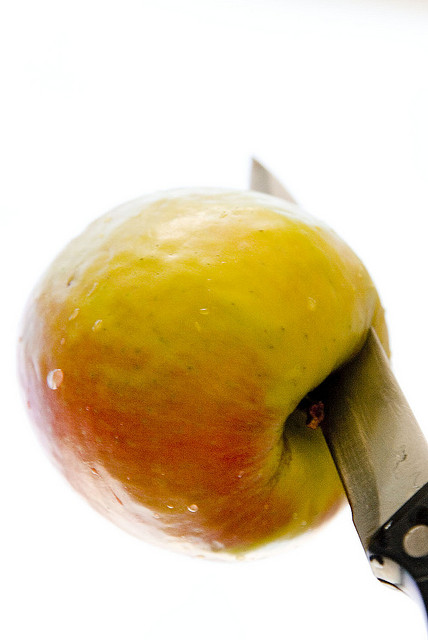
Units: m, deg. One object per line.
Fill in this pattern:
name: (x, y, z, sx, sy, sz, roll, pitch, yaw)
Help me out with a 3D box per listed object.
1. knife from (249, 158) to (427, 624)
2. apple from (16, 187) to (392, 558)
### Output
knife: (0.094, 0.049, 0.607, 0.063, 0.026, 0.437, -39, 37, 15)
apple: (0.035, 0.025, 0.717, 0.327, 0.334, 0.322, -7, 22, 13)
